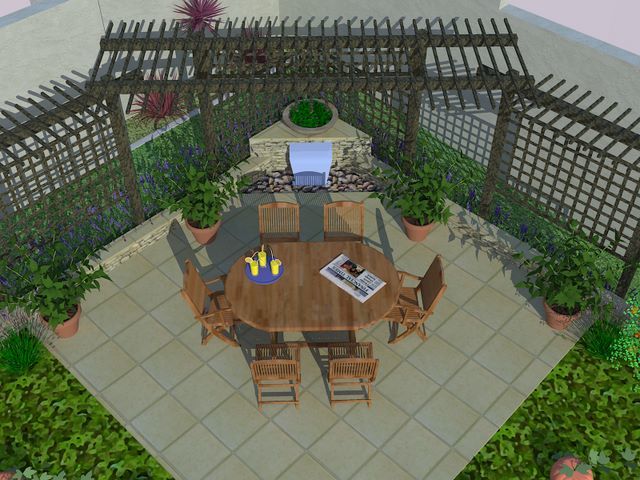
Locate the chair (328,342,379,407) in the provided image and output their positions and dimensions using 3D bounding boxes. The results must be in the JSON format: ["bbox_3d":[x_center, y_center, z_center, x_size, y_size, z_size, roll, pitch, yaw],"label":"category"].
[{"bbox_3d":[0.441,1.953,6.441,0.840,1.231,0.960,0,65,0],"label":"chair"}]

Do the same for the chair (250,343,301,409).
[{"bbox_3d":[-0.632,1.965,6.382,0.708,1.141,0.817,1,63,-4],"label":"chair"}]

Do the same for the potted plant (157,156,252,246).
[{"bbox_3d":[-2.302,-0.507,8.561,1.242,1.231,1.237,-13,13,-43],"label":"potted plant"}]

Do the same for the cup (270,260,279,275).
[{"bbox_3d":[-0.698,0.419,6.753,0.162,0.251,0.154,0,45,0],"label":"cup"}]

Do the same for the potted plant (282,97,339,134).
[{"bbox_3d":[-0.241,-2.979,10.270,1.302,0.495,1.136,1,50,-1],"label":"potted plant"}]

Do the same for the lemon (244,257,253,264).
[{"bbox_3d":[-1.096,0.318,6.784,0.101,0.037,0.101,6,51,3],"label":"lemon"}]

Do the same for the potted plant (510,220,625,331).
[{"bbox_3d":[4.290,0.677,7.647,1.145,1.223,1.204,15,52,22],"label":"potted plant"}]

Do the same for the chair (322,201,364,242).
[{"bbox_3d":[0.419,-0.314,7.987,0.681,1.216,0.736,0,50,1],"label":"chair"}]

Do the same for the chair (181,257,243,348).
[{"bbox_3d":[-1.749,1.075,7.165,0.929,1.147,0.804,-8,62,-5],"label":"chair"}]
